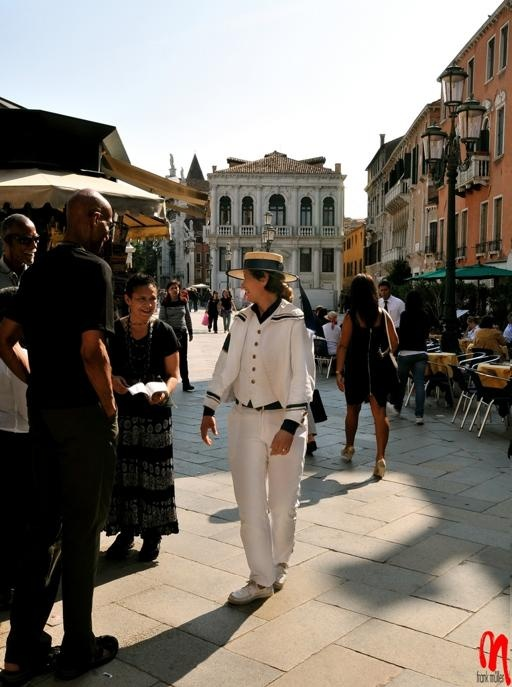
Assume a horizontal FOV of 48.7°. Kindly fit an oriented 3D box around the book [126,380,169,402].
[{"bbox_3d":[-0.569,0.250,3.018,0.156,0.036,0.102,-1,19,-23],"label":"book"}]

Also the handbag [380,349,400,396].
[{"bbox_3d":[1.352,0.307,5.878,0.297,0.389,0.096,-1,3,-24],"label":"handbag"}]

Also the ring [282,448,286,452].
[{"bbox_3d":[0.130,0.507,2.687,0.018,0.016,0.005,1,-2,-2],"label":"ring"}]

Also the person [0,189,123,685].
[{"bbox_3d":[-0.736,0.433,2.091,0.432,1.607,0.336,0,0,-7],"label":"person"}]

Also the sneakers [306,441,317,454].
[{"bbox_3d":[0.646,1.198,6.497,0.137,0.120,0.151,0,-3,-36],"label":"sneakers"}]

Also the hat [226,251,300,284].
[{"bbox_3d":[0.072,-0.412,3.100,0.297,0.096,0.299,3,-8,18],"label":"hat"}]

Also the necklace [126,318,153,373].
[{"bbox_3d":[-0.671,0.037,3.298,0.140,0.293,0.044,0,0,-14],"label":"necklace"}]

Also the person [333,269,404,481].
[{"bbox_3d":[1.111,0.311,5.796,0.594,1.984,0.565,0,0,21],"label":"person"}]

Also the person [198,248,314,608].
[{"bbox_3d":[0.017,0.395,2.976,0.601,1.806,0.616,0,0,-5],"label":"person"}]

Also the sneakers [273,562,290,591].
[{"bbox_3d":[0.128,1.245,3.029,0.049,0.061,0.144,1,10,9],"label":"sneakers"}]

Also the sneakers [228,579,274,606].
[{"bbox_3d":[-0.035,1.234,2.835,0.256,0.105,0.091,3,0,-26],"label":"sneakers"}]

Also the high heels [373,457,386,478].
[{"bbox_3d":[1.184,1.208,5.477,0.077,0.221,0.099,4,46,4],"label":"high heels"}]

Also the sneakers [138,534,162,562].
[{"bbox_3d":[-0.633,1.212,3.400,0.082,0.093,0.222,4,8,4],"label":"sneakers"}]
